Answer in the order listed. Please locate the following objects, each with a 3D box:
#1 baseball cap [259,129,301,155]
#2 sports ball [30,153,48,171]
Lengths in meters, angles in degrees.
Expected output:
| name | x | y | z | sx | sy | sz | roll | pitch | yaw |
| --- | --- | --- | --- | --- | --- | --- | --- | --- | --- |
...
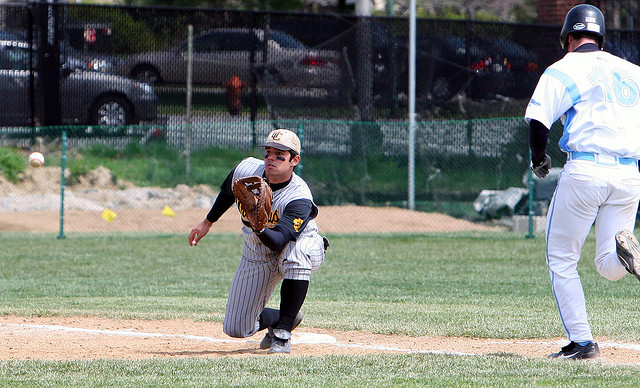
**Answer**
| name | x | y | z | sx | sy | sz | roll | pitch | yaw |
| --- | --- | --- | --- | --- | --- | --- | --- | --- | --- |
| baseball cap | -0.536 | -0.813 | 16.789 | 0.321 | 0.232 | 0.442 | 7 | 2 | 39 |
| sports ball | -5.944 | -0.706 | 23.871 | 0.273 | 0.317 | 0.267 | -36 | 19 | 15 |
